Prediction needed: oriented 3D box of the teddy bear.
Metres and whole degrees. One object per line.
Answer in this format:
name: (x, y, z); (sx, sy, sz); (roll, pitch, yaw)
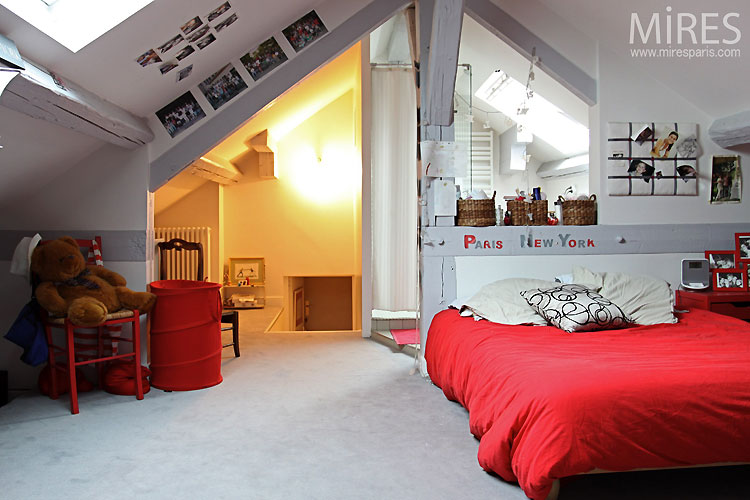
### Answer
teddy bear: (-2.530, 0.264, 4.182); (1.104, 0.518, 0.684); (22, 19, 18)

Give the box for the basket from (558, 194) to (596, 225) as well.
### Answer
basket: (2.052, -0.392, 4.924); (0.265, 0.264, 0.302); (0, -6, 1)

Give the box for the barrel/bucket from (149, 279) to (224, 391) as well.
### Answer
barrel/bucket: (-1.793, 0.822, 4.632); (0.632, 0.893, 0.645); (-3, -2, 0)

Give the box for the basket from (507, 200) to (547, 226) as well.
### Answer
basket: (1.532, -0.358, 4.848); (0.319, 0.199, 0.253); (-1, 2, 2)

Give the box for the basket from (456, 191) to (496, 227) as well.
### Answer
basket: (1.066, -0.382, 4.940); (0.383, 0.241, 0.387); (-6, 7, -38)
